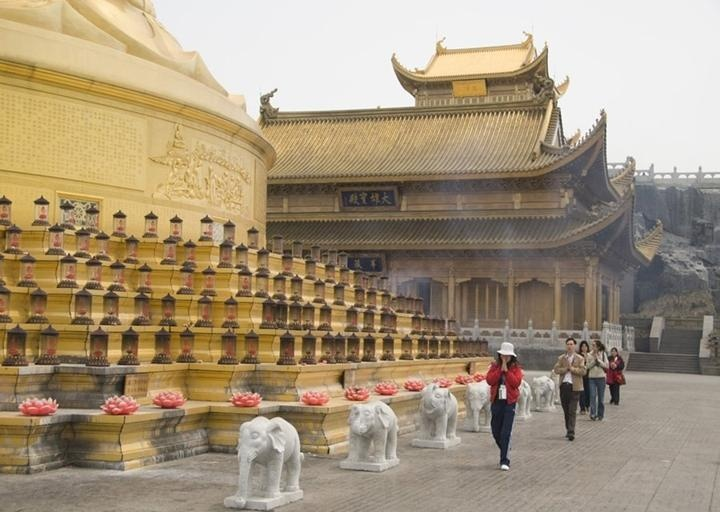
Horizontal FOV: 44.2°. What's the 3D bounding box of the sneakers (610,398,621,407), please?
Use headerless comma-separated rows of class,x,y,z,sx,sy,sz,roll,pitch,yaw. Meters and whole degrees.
sneakers,5.525,3.147,19.084,0.093,0.189,0.271,0,-17,-5

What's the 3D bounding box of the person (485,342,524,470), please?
person,1.933,1.971,11.818,0.461,1.625,0.875,-2,-7,8

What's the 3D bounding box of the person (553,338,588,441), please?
person,3.411,2.121,14.334,0.503,1.578,1.339,-2,-7,13

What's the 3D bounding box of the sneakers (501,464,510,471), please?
sneakers,1.871,2.700,11.387,0.118,0.073,0.193,-2,-7,8
